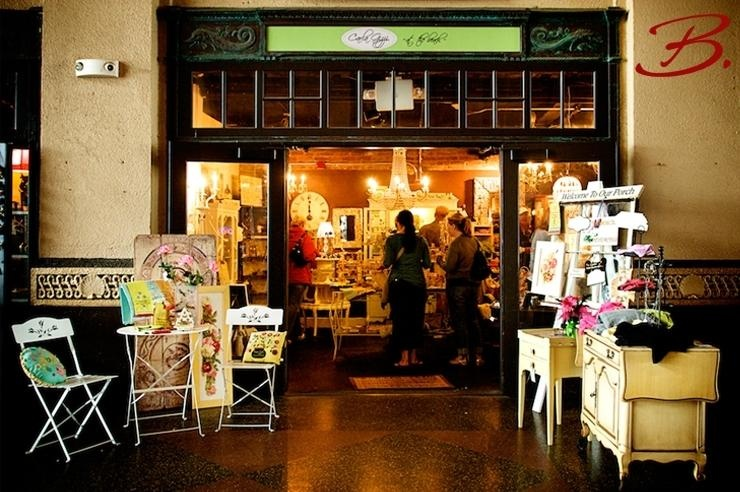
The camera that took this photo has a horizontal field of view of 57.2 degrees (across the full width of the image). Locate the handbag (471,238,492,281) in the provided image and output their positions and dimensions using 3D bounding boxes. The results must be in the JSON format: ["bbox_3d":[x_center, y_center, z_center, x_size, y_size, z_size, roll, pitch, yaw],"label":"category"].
[{"bbox_3d":[1.552,0.268,9.543,0.243,0.543,0.383,3,11,15],"label":"handbag"}]

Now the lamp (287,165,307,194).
[{"bbox_3d":[-1.461,-1.303,13.571,0.319,0.538,0.268,0,10,1],"label":"lamp"}]

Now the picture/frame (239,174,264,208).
[{"bbox_3d":[-1.466,-0.687,8.341,0.057,0.369,0.400,-16,13,-36],"label":"picture/frame"}]

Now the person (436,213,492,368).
[{"bbox_3d":[1.311,0.600,9.470,0.631,2.022,0.624,2,10,11],"label":"person"}]

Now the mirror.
[{"bbox_3d":[0.703,-0.332,11.517,1.340,1.235,0.106,0,-3,-3],"label":"mirror"}]

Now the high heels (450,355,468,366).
[{"bbox_3d":[1.225,1.589,9.480,0.261,0.177,0.107,7,5,36],"label":"high heels"}]

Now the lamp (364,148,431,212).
[{"bbox_3d":[0.384,-1.277,12.929,1.218,1.171,1.149,-2,9,-22],"label":"lamp"}]

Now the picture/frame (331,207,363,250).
[{"bbox_3d":[-0.468,-0.312,13.575,0.838,1.088,0.087,0,0,5],"label":"picture/frame"}]

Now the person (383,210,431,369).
[{"bbox_3d":[0.508,0.599,9.446,0.632,2.139,0.597,-8,13,-39],"label":"person"}]

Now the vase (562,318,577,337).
[{"bbox_3d":[2.074,0.846,7.053,0.160,0.156,0.157,-8,15,-35],"label":"vase"}]

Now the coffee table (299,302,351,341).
[{"bbox_3d":[-0.770,1.203,10.856,0.721,0.496,0.705,0,-2,-3],"label":"coffee table"}]

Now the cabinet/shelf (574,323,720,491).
[{"bbox_3d":[2.736,1.257,6.831,1.141,1.565,1.865,1,-1,2],"label":"cabinet/shelf"}]

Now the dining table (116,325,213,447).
[{"bbox_3d":[-2.337,1.496,7.515,1.157,1.308,1.156,1,-8,-18],"label":"dining table"}]

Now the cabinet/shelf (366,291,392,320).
[{"bbox_3d":[0.133,1.043,11.258,0.421,0.560,0.562,-1,1,1],"label":"cabinet/shelf"}]

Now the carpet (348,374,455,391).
[{"bbox_3d":[0.364,1.721,8.541,1.273,0.091,0.655,1,11,1],"label":"carpet"}]

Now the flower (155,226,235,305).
[{"bbox_3d":[-2.000,0.262,7.749,0.819,0.782,0.510,-6,12,-31],"label":"flower"}]

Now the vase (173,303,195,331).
[{"bbox_3d":[-1.994,0.747,7.266,0.304,0.349,0.188,1,5,-10],"label":"vase"}]

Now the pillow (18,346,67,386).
[{"bbox_3d":[-3.170,1.170,6.559,0.424,0.113,0.379,38,20,-26],"label":"pillow"}]

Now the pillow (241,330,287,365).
[{"bbox_3d":[-1.162,1.092,7.374,0.391,0.305,0.374,2,11,7],"label":"pillow"}]

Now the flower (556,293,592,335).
[{"bbox_3d":[2.077,0.706,6.944,0.365,0.381,0.384,1,0,28],"label":"flower"}]

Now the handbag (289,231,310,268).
[{"bbox_3d":[-1.094,0.070,10.315,0.331,0.447,0.254,30,-53,-33],"label":"handbag"}]

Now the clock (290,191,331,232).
[{"bbox_3d":[-1.211,-0.646,13.149,0.810,0.799,0.085,2,-4,-6],"label":"clock"}]
